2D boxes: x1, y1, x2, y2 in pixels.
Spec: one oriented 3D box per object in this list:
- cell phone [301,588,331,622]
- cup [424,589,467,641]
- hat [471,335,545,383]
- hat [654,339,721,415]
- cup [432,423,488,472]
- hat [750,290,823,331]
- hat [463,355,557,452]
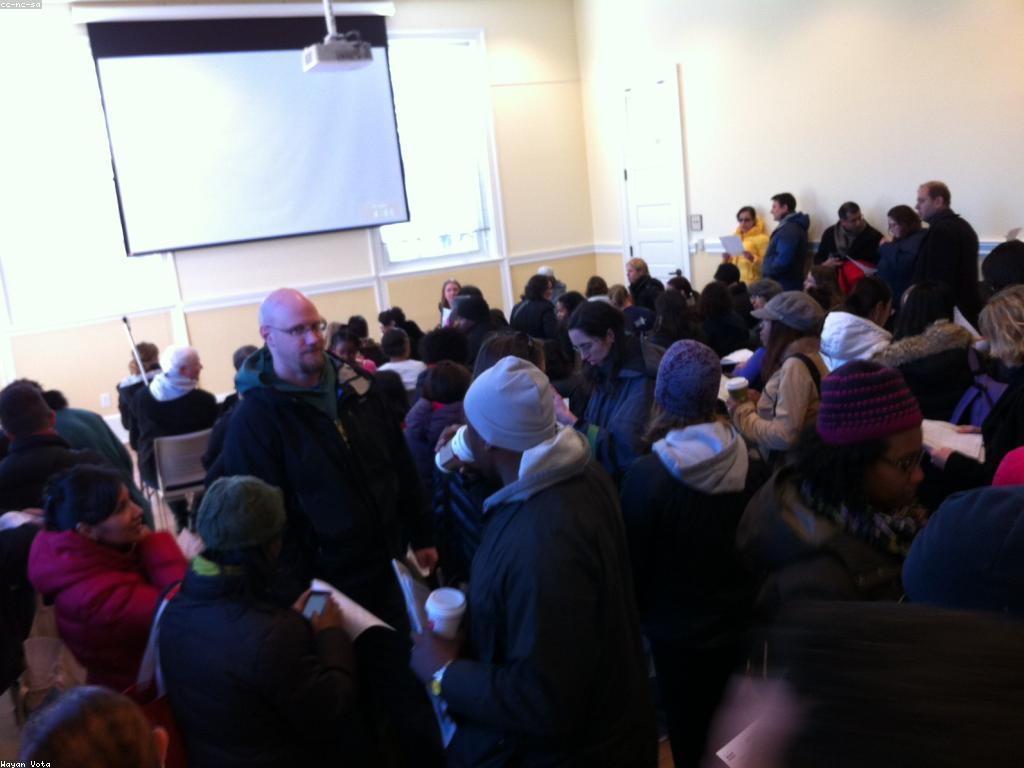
[{"bbox_3d":[-0.464,0.522,1.795,0.057,0.060,0.015,-1,-27,32],"label":"cell phone"},{"bbox_3d":[-0.142,0.473,1.601,0.078,0.094,0.082,3,18,-1],"label":"cup"},{"bbox_3d":[-0.014,-0.121,2.978,0.225,0.226,0.169,-6,9,12],"label":"hat"},{"bbox_3d":[0.493,-0.036,2.095,0.166,0.190,0.187,-8,13,-31],"label":"hat"},{"bbox_3d":[-0.150,0.169,1.954,0.076,0.125,0.189,4,-24,-27],"label":"cup"},{"bbox_3d":[1.072,-0.271,2.916,0.193,0.104,0.146,19,22,23],"label":"hat"},{"bbox_3d":[-0.009,0.025,1.576,0.150,0.120,0.188,-24,47,-29],"label":"hat"}]
